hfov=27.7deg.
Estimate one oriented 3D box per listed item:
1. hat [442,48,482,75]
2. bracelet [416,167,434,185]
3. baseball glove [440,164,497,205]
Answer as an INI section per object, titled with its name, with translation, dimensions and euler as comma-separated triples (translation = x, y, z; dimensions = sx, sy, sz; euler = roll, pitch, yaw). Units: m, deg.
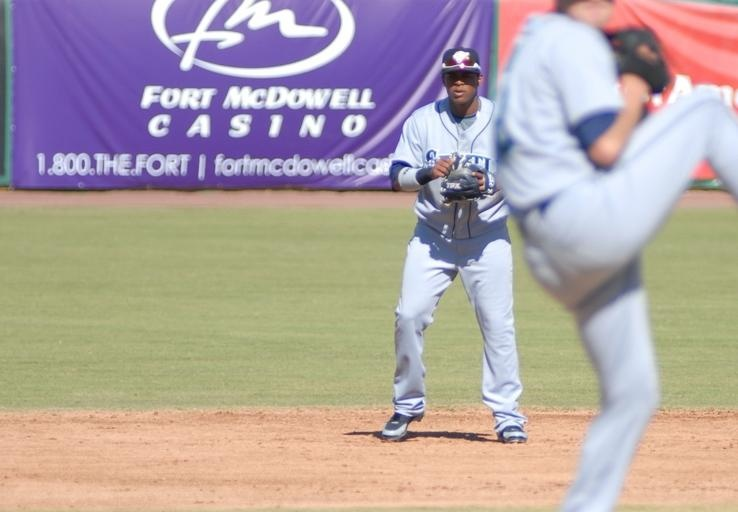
[hat]
translation = 0.904, -1.920, 14.671
dimensions = 0.371, 0.244, 0.235
euler = 2, 13, 6
[bracelet]
translation = 0.537, -0.786, 14.518
dimensions = 0.145, 0.161, 0.074
euler = -14, -9, 38
[baseball glove]
translation = 0.929, -0.700, 14.392
dimensions = 0.354, 0.215, 0.464
euler = -9, -9, 23
